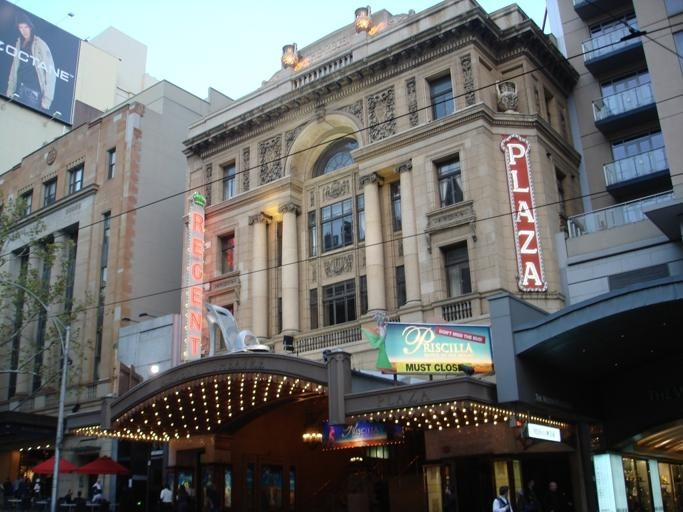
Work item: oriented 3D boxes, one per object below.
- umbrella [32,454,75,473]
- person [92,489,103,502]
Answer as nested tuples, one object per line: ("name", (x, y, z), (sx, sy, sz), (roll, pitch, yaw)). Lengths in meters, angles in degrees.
("umbrella", (-14.578, 10.800, 36.456), (2.264, 1.003, 2.354), (-2, -19, 4))
("person", (-13.206, 12.952, 38.336), (0.472, 0.902, 2.122), (6, -27, -17))
